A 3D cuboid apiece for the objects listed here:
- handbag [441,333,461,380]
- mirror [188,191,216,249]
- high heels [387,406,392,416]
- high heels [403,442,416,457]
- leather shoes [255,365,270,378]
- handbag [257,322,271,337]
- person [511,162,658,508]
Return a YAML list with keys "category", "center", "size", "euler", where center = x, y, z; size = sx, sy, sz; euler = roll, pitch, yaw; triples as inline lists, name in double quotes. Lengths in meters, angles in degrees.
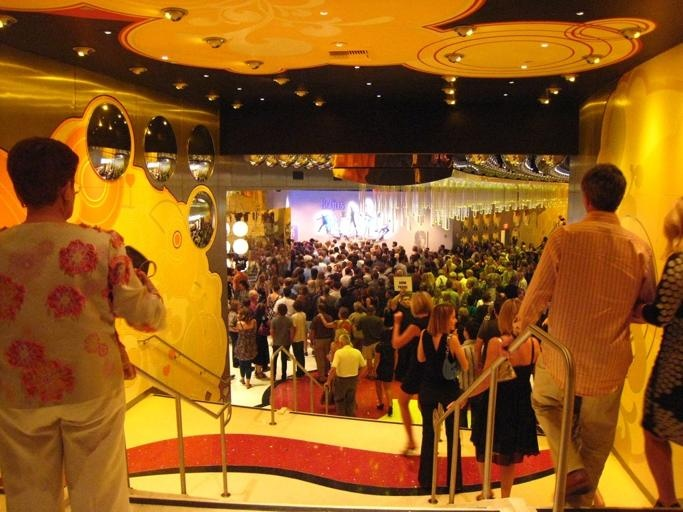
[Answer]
- category: "handbag"
  center: [1.099, 1.006, 5.481]
  size: [0.215, 0.495, 0.137]
  euler: [-4, 10, -20]
- category: "mirror"
  center: [-2.248, -0.594, 8.985]
  size: [0.106, 0.833, 0.831]
  euler: [1, -7, 16]
- category: "high heels"
  center: [0.768, 2.392, 8.660]
  size: [0.071, 0.148, 0.145]
  euler: [-1, -4, 29]
- category: "high heels"
  center: [0.758, 2.151, 6.253]
  size: [0.160, 0.083, 0.147]
  euler: [2, 10, 11]
- category: "leather shoes"
  center: [-1.513, 2.216, 10.831]
  size: [0.206, 0.175, 0.540]
  euler: [2, -8, -14]
- category: "handbag"
  center: [-1.354, 1.277, 10.040]
  size: [0.254, 0.368, 0.193]
  euler: [2, -1, -2]
- category: "person"
  center: [1.380, 0.506, 3.332]
  size: [0.649, 2.073, 0.760]
  euler: [8, 12, 42]
